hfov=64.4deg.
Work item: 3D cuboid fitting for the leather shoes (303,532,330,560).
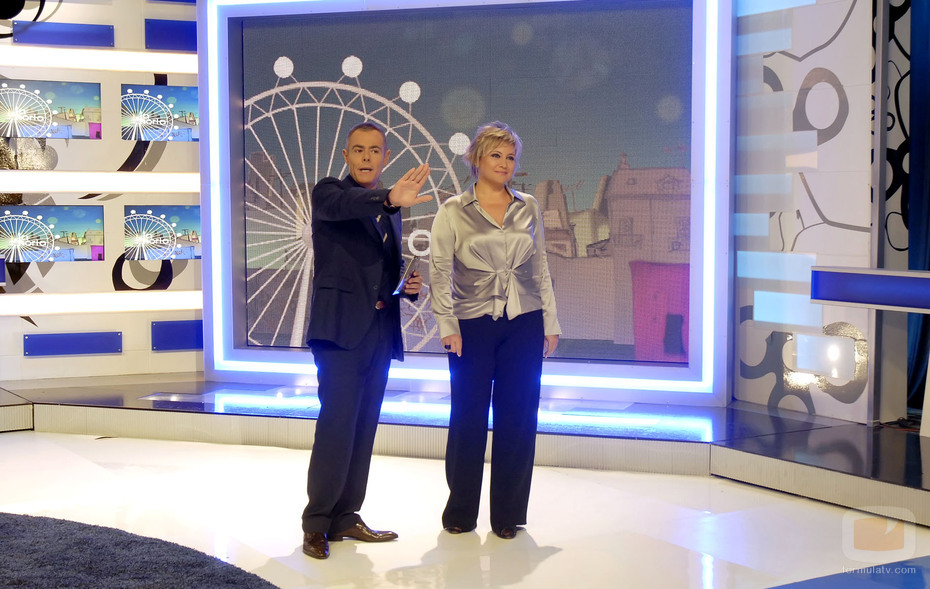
[{"bbox_3d":[-0.824,1.422,4.176,0.199,0.127,0.080,-4,-6,43],"label":"leather shoes"}]

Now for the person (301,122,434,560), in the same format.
[{"bbox_3d":[-0.568,0.255,4.247,0.671,2.456,0.505,2,3,4],"label":"person"}]

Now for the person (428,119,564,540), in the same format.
[{"bbox_3d":[0.130,0.226,4.325,0.653,2.382,0.185,1,3,-6],"label":"person"}]

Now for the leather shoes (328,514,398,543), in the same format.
[{"bbox_3d":[-0.606,1.383,4.415,0.455,0.189,0.154,0,-6,-2],"label":"leather shoes"}]
